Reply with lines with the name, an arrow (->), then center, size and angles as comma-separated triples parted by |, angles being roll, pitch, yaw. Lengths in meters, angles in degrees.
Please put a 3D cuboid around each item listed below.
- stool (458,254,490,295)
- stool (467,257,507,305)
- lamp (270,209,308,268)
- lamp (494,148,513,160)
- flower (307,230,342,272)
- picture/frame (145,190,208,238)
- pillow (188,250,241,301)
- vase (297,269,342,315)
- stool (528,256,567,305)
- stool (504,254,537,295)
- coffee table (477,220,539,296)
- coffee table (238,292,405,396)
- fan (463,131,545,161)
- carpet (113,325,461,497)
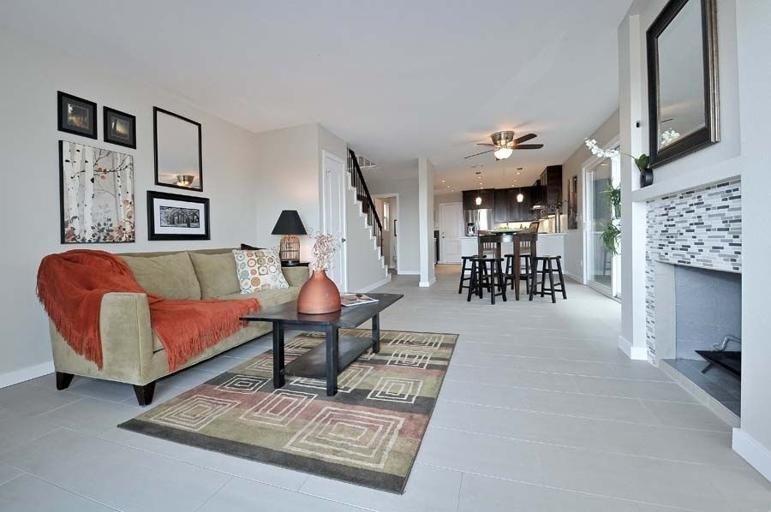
stool -> 1.397, 0.278, 6.737 | 0.410, 0.588, 0.405 | -5, 22, -11
stool -> 1.503, 0.321, 6.630 | 0.557, 0.668, 1.162 | -4, 3, 14
lamp -> -1.317, -0.239, 6.144 | 0.503, 0.772, 0.512 | -7, -9, 37
lamp -> 1.794, -1.585, 6.836 | 0.280, 0.071, 0.277 | 4, -11, -21
flower -> -0.587, -0.104, 4.650 | 0.188, 0.270, 0.240 | -8, -11, 3
picture/frame -> -2.512, -0.502, 5.255 | 0.028, 0.479, 0.651 | -1, -2, 26
pillow -> -1.972, 0.230, 5.041 | 0.169, 0.524, 0.575 | -20, -12, 23
vase -> -0.580, 0.254, 3.879 | 0.412, 0.447, 0.401 | -3, 7, -23
stool -> 2.305, 0.363, 6.720 | 0.607, 0.440, 0.456 | 3, -22, 28
stool -> 2.179, 0.271, 7.192 | 0.421, 0.610, 0.432 | -3, -3, 17
coffee table -> 2.004, 0.052, 6.733 | 0.778, 0.903, 0.755 | -9, -1, -40
coffee table -> -0.493, 0.772, 4.189 | 0.974, 0.627, 1.458 | 2, 5, 17
fan -> 2.018, -1.747, 6.876 | 0.723, 0.189, 0.713 | -4, 3, -30
carpet -> -0.496, 1.161, 4.139 | 2.186, 0.018, 3.123 | 4, 5, 8
